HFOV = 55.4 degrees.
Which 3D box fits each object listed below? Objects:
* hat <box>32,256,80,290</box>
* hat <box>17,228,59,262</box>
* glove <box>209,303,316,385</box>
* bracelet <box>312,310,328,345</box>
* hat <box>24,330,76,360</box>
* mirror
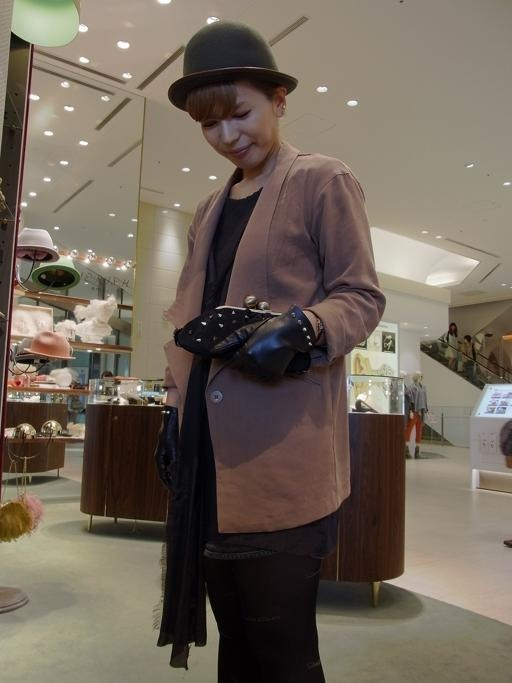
[{"bbox_3d":[-2.063,-0.682,5.052,0.432,0.272,0.435,-7,-11,6],"label":"hat"},{"bbox_3d":[-1.818,-0.803,4.096,0.305,0.262,0.446,4,-4,-24],"label":"hat"},{"bbox_3d":[0.011,0.008,0.560,0.104,0.078,0.048,11,-33,20],"label":"glove"},{"bbox_3d":[0.073,-0.014,0.559,0.016,0.031,0.023,-2,13,-18],"label":"bracelet"},{"bbox_3d":[-1.789,0.037,4.216,0.277,0.117,0.272,4,-7,16],"label":"hat"},{"bbox_3d":[-1.990,-1.687,5.728,1.368,2.556,0.543,5,-4,-32],"label":"mirror"}]
